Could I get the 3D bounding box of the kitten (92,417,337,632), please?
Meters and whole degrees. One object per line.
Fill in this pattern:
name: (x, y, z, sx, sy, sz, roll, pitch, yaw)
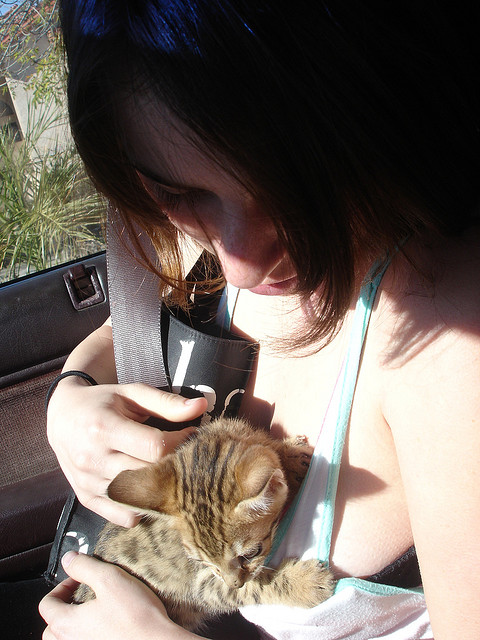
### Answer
kitten: (-0.072, 0.594, 1.497, 0.619, 0.248, 0.449, 27, 66, 23)
